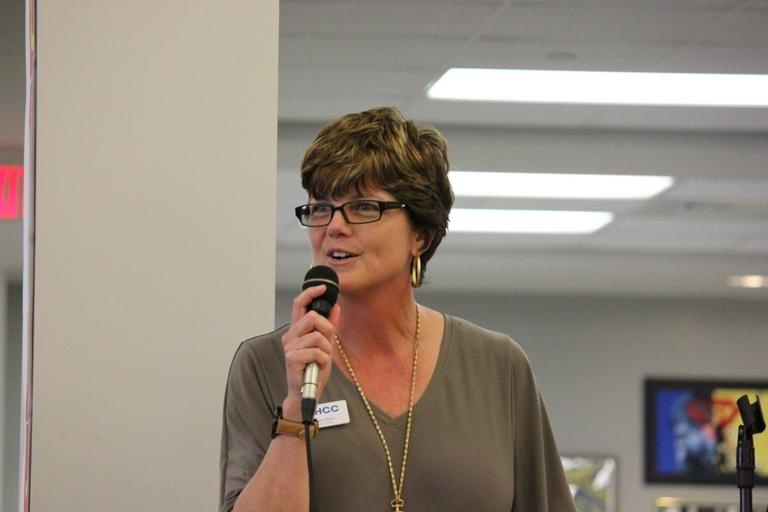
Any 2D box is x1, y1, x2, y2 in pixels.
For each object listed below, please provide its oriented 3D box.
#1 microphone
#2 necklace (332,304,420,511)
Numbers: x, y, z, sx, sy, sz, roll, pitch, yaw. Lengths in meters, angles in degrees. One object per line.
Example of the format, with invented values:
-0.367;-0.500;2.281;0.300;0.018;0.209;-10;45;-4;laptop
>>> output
-0.228;0.302;4.922;0.124;0.561;0.100;2;-8;-5;microphone
-0.030;0.555;5.141;0.302;0.726;0.112;1;-8;-2;necklace
